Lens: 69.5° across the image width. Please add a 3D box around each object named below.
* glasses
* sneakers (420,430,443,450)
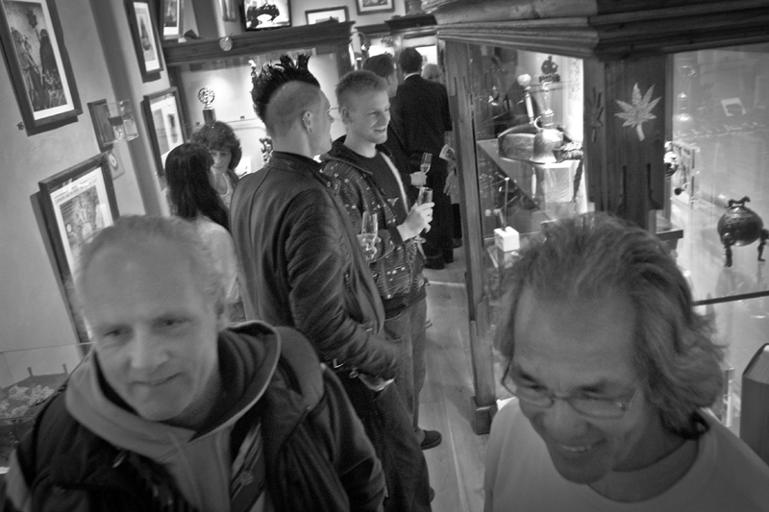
[{"bbox_3d":[0.383,0.287,1.113,0.245,0.069,0.051,-1,13,23],"label":"glasses"},{"bbox_3d":[0.276,1.101,3.329,0.140,0.057,0.078,-6,9,17],"label":"sneakers"}]
